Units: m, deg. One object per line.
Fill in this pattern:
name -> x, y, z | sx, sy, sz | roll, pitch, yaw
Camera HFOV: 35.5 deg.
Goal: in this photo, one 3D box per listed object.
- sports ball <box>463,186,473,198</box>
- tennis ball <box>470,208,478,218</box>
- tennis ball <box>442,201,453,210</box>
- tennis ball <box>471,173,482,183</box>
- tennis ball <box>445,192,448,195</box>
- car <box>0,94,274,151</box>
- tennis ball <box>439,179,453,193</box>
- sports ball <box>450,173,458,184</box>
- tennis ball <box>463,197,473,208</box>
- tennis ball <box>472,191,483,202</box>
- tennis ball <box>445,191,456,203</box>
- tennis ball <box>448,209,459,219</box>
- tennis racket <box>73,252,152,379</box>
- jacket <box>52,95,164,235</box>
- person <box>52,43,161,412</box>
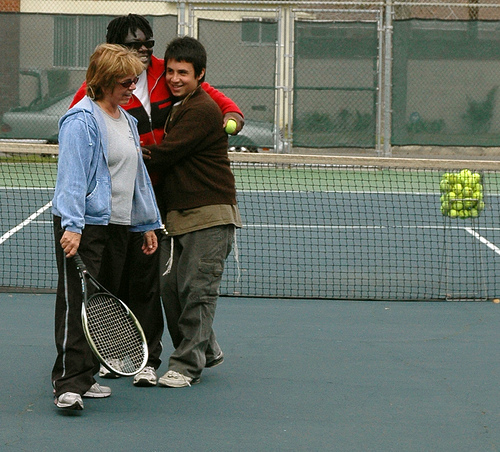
sports ball -> 2.257, -0.355, 8.052 | 0.098, 0.115, 0.099 | 4, 1, 0
tennis ball -> 2.335, -0.146, 8.122 | 0.069, 0.081, 0.068 | 0, -13, 0
tennis ball -> 2.067, -0.213, 8.155 | 0.084, 0.080, 0.083 | 0, -8, 0
tennis ball -> 2.351, -0.501, 8.094 | 0.112, 0.110, 0.132 | -10, 12, 13
tennis ball -> 2.062, -0.340, 8.177 | 0.026, 0.028, 0.029 | -3, 8, -26
car -> -1.878, -1.661, 12.898 | 4.371, 1.293, 1.832 | -1, 6, -4
tennis ball -> 2.084, -0.437, 8.230 | 0.119, 0.139, 0.123 | 1, 0, 0
sports ball -> 2.121, -0.500, 8.101 | 0.078, 0.113, 0.171 | 8, 11, 34
tennis ball -> 2.279, -0.243, 8.112 | 0.101, 0.118, 0.100 | -3, 9, 0
tennis ball -> 2.357, -0.309, 8.078 | 0.100, 0.115, 0.099 | 2, -3, 0
tennis ball -> 2.090, -0.314, 8.108 | 0.081, 0.100, 0.112 | -8, 13, -44
tennis ball -> 2.132, -0.128, 8.167 | 0.082, 0.096, 0.081 | 0, -7, 0
tennis racket -> -0.749, 0.525, 4.258 | 0.038, 0.757, 0.307 | -19, 12, 29
jacket -> -0.826, -0.307, 4.266 | 0.271, 0.808, 0.675 | 8, 11, 33
person -> -0.820, 0.010, 4.308 | 0.394, 2.008, 0.814 | 5, 10, 20
